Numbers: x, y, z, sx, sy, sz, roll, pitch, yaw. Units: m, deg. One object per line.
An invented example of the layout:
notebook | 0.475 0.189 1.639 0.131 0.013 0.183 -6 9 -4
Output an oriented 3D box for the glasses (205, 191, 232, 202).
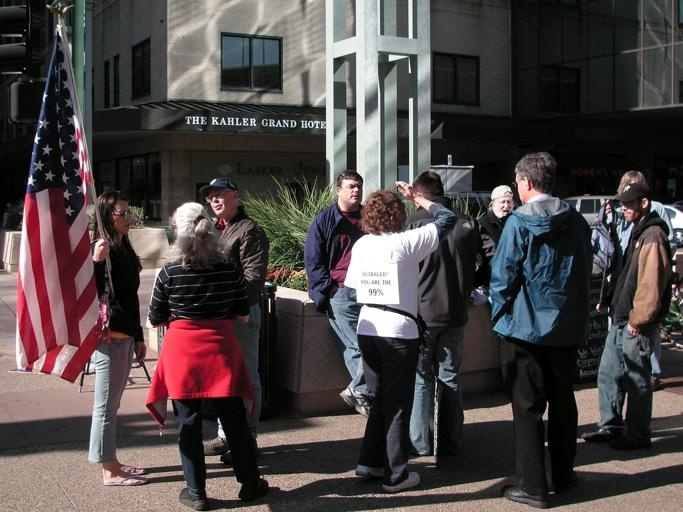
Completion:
glasses | -1.151 -0.576 8.162 0.161 0.062 0.117 11 -17 -30

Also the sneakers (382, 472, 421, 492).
sneakers | 0.524 1.929 7.450 0.361 0.155 0.130 -3 6 -41

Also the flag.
flag | -2.440 -0.444 7.333 0.706 2.990 0.683 -3 10 -18

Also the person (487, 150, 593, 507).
person | 1.668 0.586 7.317 0.820 2.889 0.816 3 10 17

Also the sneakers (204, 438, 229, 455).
sneakers | -1.179 1.795 8.102 0.267 0.127 0.112 4 0 -8

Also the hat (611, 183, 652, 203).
hat | 2.877 -0.628 8.541 0.278 0.162 0.185 3 2 -7

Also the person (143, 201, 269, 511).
person | -1.123 0.815 7.043 0.941 2.454 0.478 0 9 -5

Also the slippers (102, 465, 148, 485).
slippers | -1.877 1.901 7.455 0.284 0.136 0.185 0 1 -8

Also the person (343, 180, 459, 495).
person | 0.490 0.705 7.499 0.749 2.541 0.613 -6 11 -35

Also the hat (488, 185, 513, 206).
hat | 1.651 -0.655 8.883 0.154 0.202 0.217 2 -25 -1

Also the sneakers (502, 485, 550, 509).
sneakers | 1.537 2.007 7.212 0.375 0.173 0.143 18 9 43

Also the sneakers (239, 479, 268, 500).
sneakers | -0.732 1.951 7.232 0.122 0.127 0.280 8 10 34

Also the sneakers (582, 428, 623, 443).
sneakers | 2.552 1.751 8.448 0.380 0.179 0.146 -1 -11 -2

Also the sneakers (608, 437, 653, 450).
sneakers | 2.771 1.780 8.201 0.341 0.153 0.145 2 -6 3
